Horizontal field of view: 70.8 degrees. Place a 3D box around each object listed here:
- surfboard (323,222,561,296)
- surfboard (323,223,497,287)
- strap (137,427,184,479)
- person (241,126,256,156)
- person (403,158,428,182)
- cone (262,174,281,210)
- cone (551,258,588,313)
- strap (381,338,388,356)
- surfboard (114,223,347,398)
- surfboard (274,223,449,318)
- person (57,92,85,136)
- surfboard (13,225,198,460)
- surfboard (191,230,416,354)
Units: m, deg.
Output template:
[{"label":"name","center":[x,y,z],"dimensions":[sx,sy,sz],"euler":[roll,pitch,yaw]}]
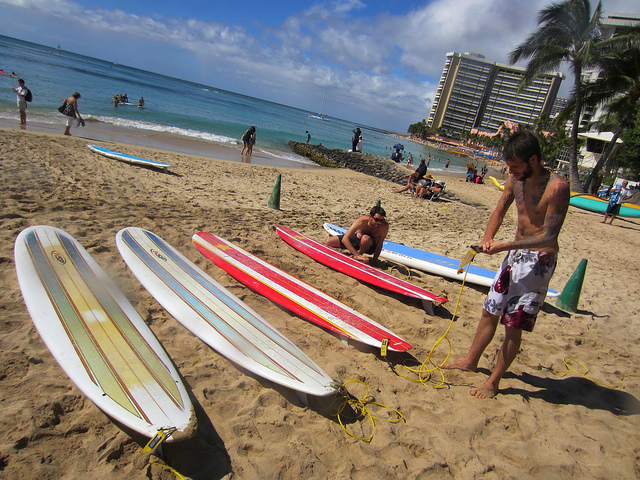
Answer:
[{"label":"surfboard","center":[1.474,0.285,6.030],"dimensions":[2.649,0.268,0.462],"euler":[17,19,26]},{"label":"surfboard","center":[1.272,0.243,6.786],"dimensions":[2.289,0.224,0.455],"euler":[20,20,38]},{"label":"strap","center":[-1.188,1.546,3.259],"dimensions":[0.392,0.400,0.105],"euler":[7,4,-1]},{"label":"person","center":[-2.659,-3.706,16.640],"dimensions":[0.363,1.089,1.163],"euler":[9,18,-10]},{"label":"person","center":[3.115,-2.185,14.370],"dimensions":[0.404,0.748,1.017],"euler":[15,18,9]},{"label":"cone","center":[-0.882,-0.914,8.605],"dimensions":[0.325,0.600,0.441],"euler":[10,19,-6]},{"label":"cone","center":[3.481,0.604,6.194],"dimensions":[0.319,0.746,0.297],"euler":[22,21,26]},{"label":"strap","center":[0.659,1.104,4.606],"dimensions":[0.041,0.151,0.090],"euler":[13,-6,-42]},{"label":"surfboard","center":[-0.990,0.764,4.805],"dimensions":[2.797,0.298,0.671],"euler":[30,24,33]},{"label":"surfboard","center":[0.512,0.434,6.209],"dimensions":[0.457,0.238,2.326],"euler":[-19,34,-40]},{"label":"person","center":[-6.439,-3.282,11.736],"dimensions":[0.551,1.167,1.024],"euler":[1,21,-30]},{"label":"surfboard","center":[-2.079,0.783,4.153],"dimensions":[2.953,0.316,0.813],"euler":[40,30,30]},{"label":"surfboard","center":[-0.231,0.633,5.407],"dimensions":[2.478,0.243,0.513],"euler":[26,27,34]}]
